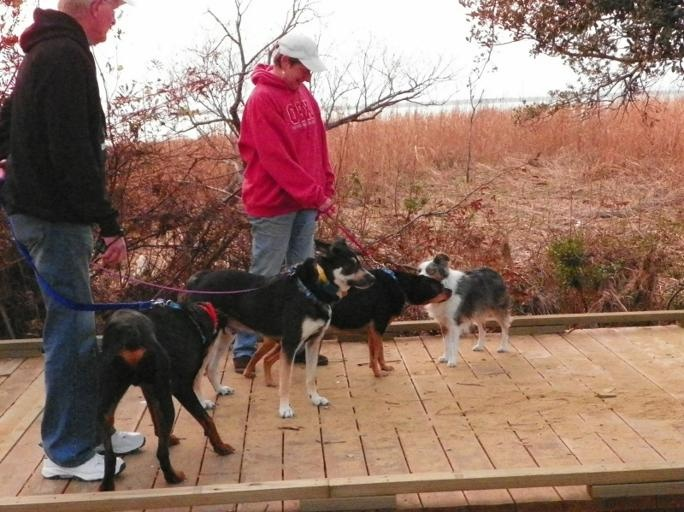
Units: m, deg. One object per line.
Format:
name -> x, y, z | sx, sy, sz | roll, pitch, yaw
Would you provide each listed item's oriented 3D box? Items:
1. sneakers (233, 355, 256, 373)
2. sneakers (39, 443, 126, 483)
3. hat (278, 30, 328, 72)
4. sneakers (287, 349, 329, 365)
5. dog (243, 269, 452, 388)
sneakers -> -0.946, 1.042, 5.631 | 0.151, 0.138, 0.182 | -5, -10, 38
sneakers -> -1.645, 1.355, 3.944 | 0.610, 0.233, 0.221 | 0, 4, -8
hat -> -0.356, -1.762, 5.088 | 0.398, 0.337, 0.243 | -3, 13, -5
sneakers -> -0.324, 1.003, 5.866 | 0.389, 0.225, 0.123 | -2, 2, 6
dog -> 0.005, 0.615, 5.560 | 2.135, 0.933, 0.467 | -3, 2, -17
